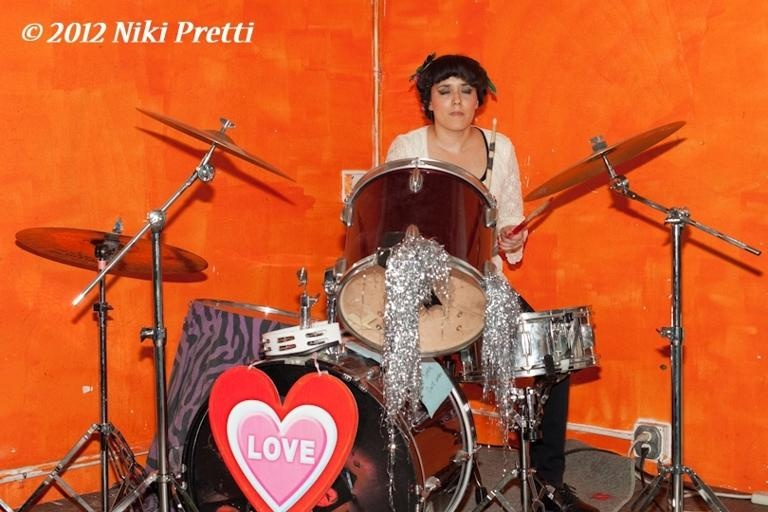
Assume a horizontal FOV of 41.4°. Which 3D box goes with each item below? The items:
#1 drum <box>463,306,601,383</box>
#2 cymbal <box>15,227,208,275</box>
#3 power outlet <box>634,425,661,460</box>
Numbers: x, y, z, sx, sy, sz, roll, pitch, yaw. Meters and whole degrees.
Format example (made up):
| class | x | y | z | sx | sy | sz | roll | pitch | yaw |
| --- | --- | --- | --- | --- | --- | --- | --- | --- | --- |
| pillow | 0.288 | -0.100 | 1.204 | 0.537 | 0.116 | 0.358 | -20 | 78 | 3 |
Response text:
| class | x | y | z | sx | sy | sz | roll | pitch | yaw |
| --- | --- | --- | --- | --- | --- | --- | --- | --- | --- |
| drum | 0.758 | 0.435 | 4.978 | 0.426 | 0.190 | 0.430 | -5 | -7 | -1 |
| cymbal | -1.421 | -0.022 | 5.274 | 0.926 | 0.180 | 0.814 | 3 | -8 | -23 |
| power outlet | 1.486 | 1.046 | 5.727 | 0.158 | 0.196 | 0.177 | -1 | -7 | 14 |
